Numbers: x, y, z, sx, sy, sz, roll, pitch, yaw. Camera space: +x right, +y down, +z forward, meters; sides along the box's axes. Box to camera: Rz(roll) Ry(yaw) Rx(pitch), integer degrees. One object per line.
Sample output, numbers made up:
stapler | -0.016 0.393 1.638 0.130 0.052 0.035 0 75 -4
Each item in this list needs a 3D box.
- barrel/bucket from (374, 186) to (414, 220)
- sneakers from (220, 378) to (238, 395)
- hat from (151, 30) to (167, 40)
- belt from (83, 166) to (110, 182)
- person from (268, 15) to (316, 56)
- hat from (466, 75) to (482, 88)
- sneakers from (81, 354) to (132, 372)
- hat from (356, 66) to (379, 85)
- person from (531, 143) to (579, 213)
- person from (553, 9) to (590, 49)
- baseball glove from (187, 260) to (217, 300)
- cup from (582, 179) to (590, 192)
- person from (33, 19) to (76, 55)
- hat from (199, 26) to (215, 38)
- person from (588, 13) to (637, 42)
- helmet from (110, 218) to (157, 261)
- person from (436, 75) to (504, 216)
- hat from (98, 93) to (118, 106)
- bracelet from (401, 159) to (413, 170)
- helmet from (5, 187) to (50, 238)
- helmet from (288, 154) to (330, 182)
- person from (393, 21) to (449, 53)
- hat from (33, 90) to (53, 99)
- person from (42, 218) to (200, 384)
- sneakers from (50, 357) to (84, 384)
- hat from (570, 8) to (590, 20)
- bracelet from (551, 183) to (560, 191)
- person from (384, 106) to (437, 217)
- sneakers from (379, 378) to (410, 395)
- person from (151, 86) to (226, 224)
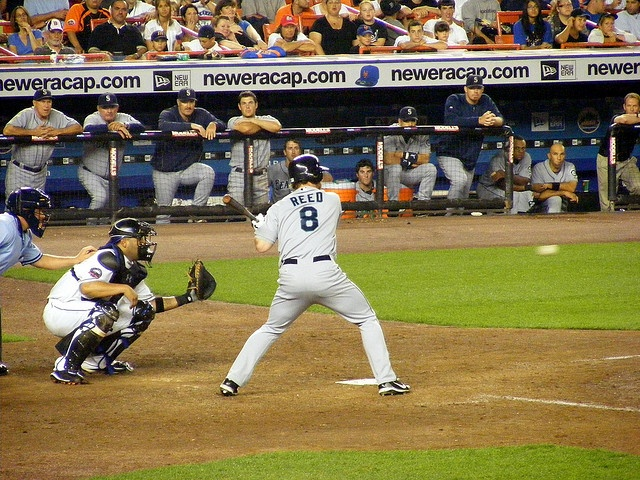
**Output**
barrel/bucket | 1.272 -0.679 20.434 0.612 0.507 0.562 1 0 0
sneakers | -0.913 1.485 11.779 0.109 0.104 0.245 15 0 14
hat | -2.940 -3.709 21.106 0.273 0.182 0.249 0 4 -7
belt | -3.807 -1.153 19.699 0.345 0.084 0.239 19 6 0
person | -0.501 -3.839 21.732 0.940 0.775 0.844 0 4 -2
hat | 2.725 -2.788 20.395 0.296 0.203 0.299 0 4 5
sneakers | -2.315 1.318 12.559 0.617 0.214 0.179 -1 25 -9
hat | 0.900 -2.999 21.241 0.315 0.225 0.421 26 55 17
person | 4.263 -1.106 20.839 0.835 1.235 0.589 2 5 22
person | 4.972 -4.097 22.451 0.809 0.761 0.388 -3 6 -34
baseball glove | -1.384 0.423 12.553 0.185 0.403 0.350 3 26 46
cup | 5.294 -1.096 23.003 0.137 0.231 0.370 1 4 13
person | -4.856 -3.819 21.539 0.735 0.555 1.296 4 5 -13
hat | -2.068 -3.792 21.132 0.286 0.253 0.237 0 4 -5
person | 5.646 -4.105 22.514 0.713 0.467 0.817 -2 8 -3
helmet | -1.998 0.005 12.340 0.574 0.411 0.382 -1 -3 -2
person | 2.664 -1.675 20.652 1.161 2.446 0.665 0 5 4
hat | -3.617 -2.380 19.747 0.303 0.229 0.447 -1 4 -8
bracelet | 1.543 -1.350 20.333 0.221 0.172 0.080 10 -12 2
helmet | -3.101 -0.356 12.564 0.611 0.485 0.435 1 9 -12
helmet | -0.146 -0.736 12.028 0.396 0.230 0.259 6 -7 -28
person | 1.854 -3.836 21.912 0.725 0.441 0.778 -6 14 -8
hat | -4.669 -2.434 19.475 0.289 0.182 0.222 -1 4 -12
person | -2.320 0.626 12.279 1.170 1.700 0.633 -1 5 -15
sneakers | -2.598 1.367 12.139 0.491 0.201 0.187 4 11 22
hat | 5.055 -4.382 22.445 0.359 0.136 0.240 -2 3 14
bracelet | 4.225 -0.968 20.723 0.156 0.117 0.033 2 8 7
person | 1.591 -1.467 20.407 1.172 1.615 1.150 6 14 2
sneakers | 0.722 1.458 11.757 0.385 0.166 0.120 -3 30 -8
person | -2.298 -1.446 19.950 1.122 2.308 0.525 0 5 -3
